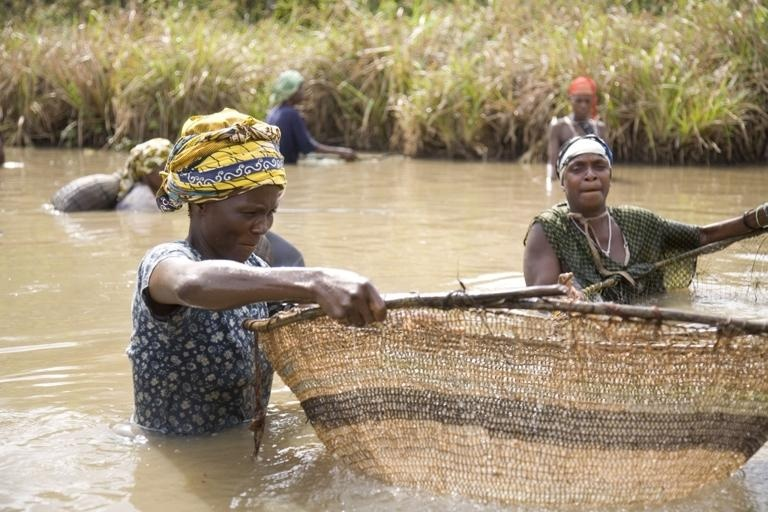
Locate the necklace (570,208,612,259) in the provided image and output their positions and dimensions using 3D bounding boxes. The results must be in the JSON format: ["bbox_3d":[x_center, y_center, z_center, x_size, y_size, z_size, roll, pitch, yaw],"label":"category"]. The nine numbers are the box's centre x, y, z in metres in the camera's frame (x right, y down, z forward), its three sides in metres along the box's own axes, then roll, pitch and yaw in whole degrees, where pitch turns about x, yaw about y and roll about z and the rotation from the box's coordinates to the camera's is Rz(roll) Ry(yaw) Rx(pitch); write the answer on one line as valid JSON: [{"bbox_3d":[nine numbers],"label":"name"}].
[{"bbox_3d":[1.681,-0.171,10.157,0.115,0.448,0.272,-31,16,52],"label":"necklace"}]

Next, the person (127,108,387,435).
[{"bbox_3d":[-1.075,0.164,8.777,1.689,2.280,0.890,-2,18,5],"label":"person"}]

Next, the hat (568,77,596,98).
[{"bbox_3d":[2.280,-1.958,14.599,0.284,0.227,0.315,2,-6,6],"label":"hat"}]

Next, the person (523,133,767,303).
[{"bbox_3d":[1.969,-0.269,10.045,1.747,1.370,0.658,-3,18,1],"label":"person"}]

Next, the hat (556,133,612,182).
[{"bbox_3d":[1.614,-0.812,10.242,0.412,0.324,0.423,3,-20,0],"label":"hat"}]

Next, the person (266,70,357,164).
[{"bbox_3d":[-1.072,-1.825,17.530,1.289,1.288,1.826,5,14,-10],"label":"person"}]
